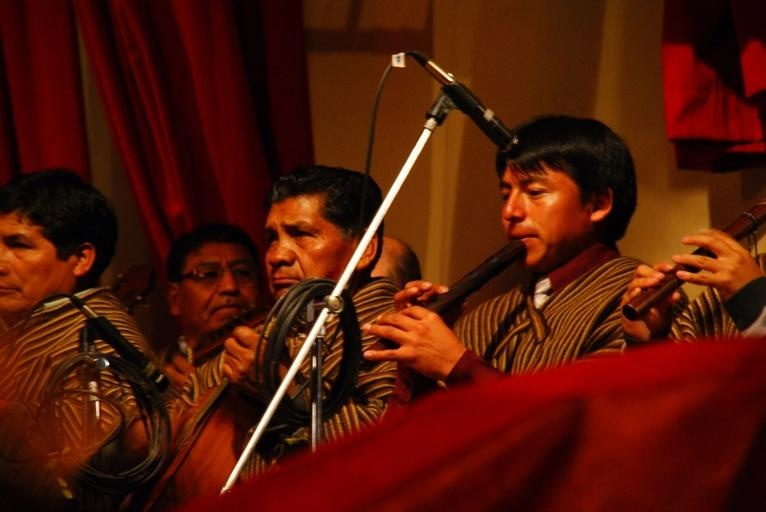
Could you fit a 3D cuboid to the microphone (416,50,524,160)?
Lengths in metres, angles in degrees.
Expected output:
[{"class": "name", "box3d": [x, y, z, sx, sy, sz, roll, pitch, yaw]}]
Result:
[{"class": "microphone", "box3d": [0.247, -0.490, 2.560, 0.277, 0.363, 0.163, -14, 7, -15]}]

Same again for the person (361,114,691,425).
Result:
[{"class": "person", "box3d": [0.371, 0.083, 3.206, 1.120, 1.251, 0.745, 3, -9, -14]}]

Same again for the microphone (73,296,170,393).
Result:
[{"class": "microphone", "box3d": [-1.031, 0.352, 3.134, 0.462, 0.082, 0.066, 47, 4, -5]}]

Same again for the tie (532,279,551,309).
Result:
[{"class": "tie", "box3d": [0.582, 0.138, 2.950, 0.034, 0.106, 0.058, 28, -13, -37]}]
